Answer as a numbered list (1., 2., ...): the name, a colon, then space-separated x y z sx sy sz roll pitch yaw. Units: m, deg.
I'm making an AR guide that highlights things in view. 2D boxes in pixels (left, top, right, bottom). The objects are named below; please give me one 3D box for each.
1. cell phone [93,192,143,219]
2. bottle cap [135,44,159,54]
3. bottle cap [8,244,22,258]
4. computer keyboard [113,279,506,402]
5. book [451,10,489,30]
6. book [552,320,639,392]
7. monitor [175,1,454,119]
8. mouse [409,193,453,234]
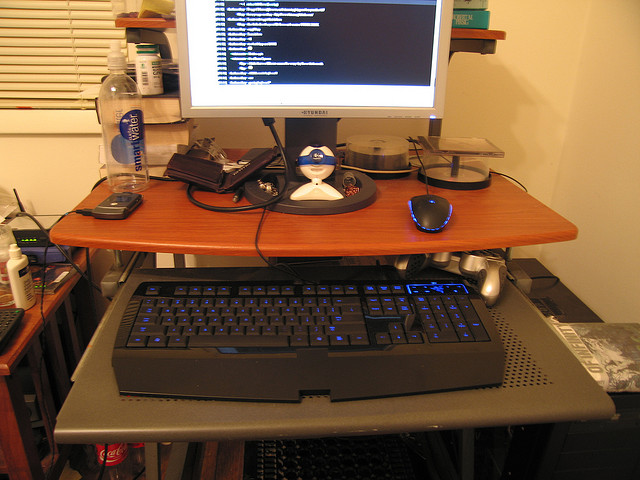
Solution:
1. cell phone: -0.498 -0.085 1.282 0.081 0.039 0.106 3 23 9
2. bottle cap: -0.499 -0.543 1.485 0.054 0.012 0.041 -1 18 -8
3. bottle cap: -0.861 0.030 1.456 0.030 0.040 0.031 -16 32 -24
4. computer keyboard: -0.028 0.211 1.143 0.820 0.165 0.283 -2 25 -2
5. book: 0.444 -0.654 1.536 0.108 0.055 0.035 0 29 2
6. book: 0.699 0.283 1.286 0.200 0.019 0.211 -1 24 0
7. monitor: -0.011 -0.466 1.356 0.717 0.302 0.123 -2 31 -2
8. mouse: 0.249 -0.047 1.246 0.083 0.028 0.094 20 24 -15
